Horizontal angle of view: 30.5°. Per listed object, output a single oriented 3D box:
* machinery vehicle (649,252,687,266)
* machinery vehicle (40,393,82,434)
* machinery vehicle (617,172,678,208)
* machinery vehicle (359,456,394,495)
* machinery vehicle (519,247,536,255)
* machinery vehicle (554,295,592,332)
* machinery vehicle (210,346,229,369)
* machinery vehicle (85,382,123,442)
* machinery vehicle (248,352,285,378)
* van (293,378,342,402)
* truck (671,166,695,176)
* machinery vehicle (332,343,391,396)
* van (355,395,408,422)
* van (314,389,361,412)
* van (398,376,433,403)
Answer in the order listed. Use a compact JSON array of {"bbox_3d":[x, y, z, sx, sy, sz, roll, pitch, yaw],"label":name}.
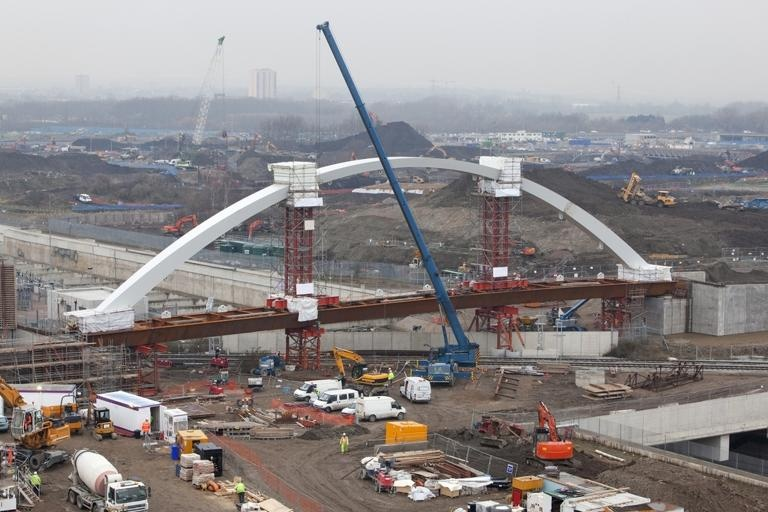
[{"bbox_3d":[27.526,0.418,137.544,3.404,1.221,8.684,-2,-1,12],"label":"machinery vehicle"},{"bbox_3d":[-19.682,9.779,87.878,1.795,2.064,2.382,-7,7,-17],"label":"machinery vehicle"},{"bbox_3d":[28.987,-7.262,157.888,6.070,3.788,4.154,-2,-1,-5],"label":"machinery vehicle"},{"bbox_3d":[-0.282,13.018,85.228,1.867,1.485,3.312,-4,11,-19],"label":"machinery vehicle"},{"bbox_3d":[12.452,-0.345,123.251,1.402,0.465,1.231,1,2,-3],"label":"machinery vehicle"},{"bbox_3d":[14.699,4.748,113.345,2.391,2.518,6.880,-2,-1,6],"label":"machinery vehicle"},{"bbox_3d":[-12.229,7.636,104.169,1.414,0.691,2.122,2,6,0],"label":"machinery vehicle"},{"bbox_3d":[-17.901,9.698,87.903,1.349,2.721,3.296,-10,17,-30],"label":"machinery vehicle"},{"bbox_3d":[-8.326,7.937,100.892,2.057,1.036,1.339,-6,10,-42],"label":"machinery vehicle"},{"bbox_3d":[-4.508,9.156,95.624,3.060,1.030,1.420,-1,2,-27],"label":"van"},{"bbox_3d":[45.063,-12.707,213.335,3.242,1.419,4.784,-2,-1,16],"label":"truck"},{"bbox_3d":[-1.600,7.883,99.216,2.288,2.611,5.345,-8,13,-44],"label":"machinery vehicle"},{"bbox_3d":[-0.243,9.984,92.598,2.973,1.081,1.452,-3,9,-23],"label":"van"},{"bbox_3d":[-3.162,9.632,93.575,2.890,0.839,1.395,-1,2,-30],"label":"van"},{"bbox_3d":[2.062,9.042,96.145,1.452,1.058,2.248,-2,8,-24],"label":"van"}]
